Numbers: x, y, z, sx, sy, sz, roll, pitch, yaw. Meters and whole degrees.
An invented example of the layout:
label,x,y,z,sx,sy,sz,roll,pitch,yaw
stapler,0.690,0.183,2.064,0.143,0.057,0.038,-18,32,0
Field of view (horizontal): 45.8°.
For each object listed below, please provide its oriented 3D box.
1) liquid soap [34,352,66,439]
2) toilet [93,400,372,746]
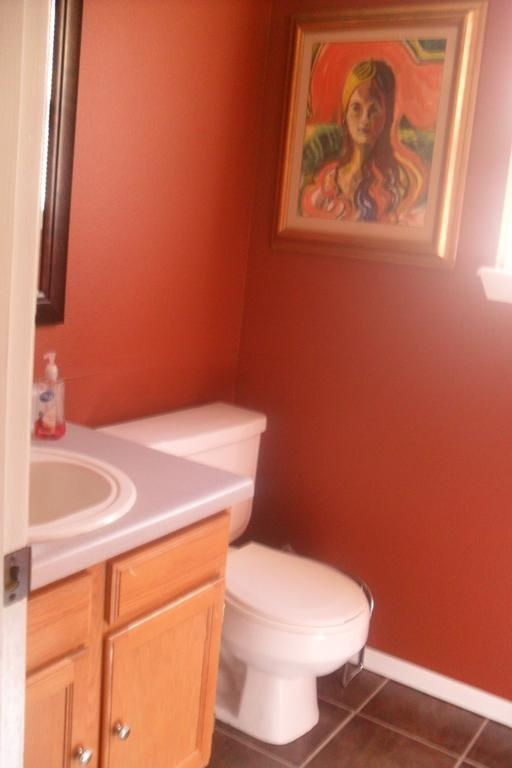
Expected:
label,x,y,z,sx,sy,sz,roll,pitch,yaw
liquid soap,-0.456,0.026,1.336,0.067,0.189,0.088,2,6,-21
toilet,-0.003,0.560,1.778,0.737,0.806,0.464,9,12,34
